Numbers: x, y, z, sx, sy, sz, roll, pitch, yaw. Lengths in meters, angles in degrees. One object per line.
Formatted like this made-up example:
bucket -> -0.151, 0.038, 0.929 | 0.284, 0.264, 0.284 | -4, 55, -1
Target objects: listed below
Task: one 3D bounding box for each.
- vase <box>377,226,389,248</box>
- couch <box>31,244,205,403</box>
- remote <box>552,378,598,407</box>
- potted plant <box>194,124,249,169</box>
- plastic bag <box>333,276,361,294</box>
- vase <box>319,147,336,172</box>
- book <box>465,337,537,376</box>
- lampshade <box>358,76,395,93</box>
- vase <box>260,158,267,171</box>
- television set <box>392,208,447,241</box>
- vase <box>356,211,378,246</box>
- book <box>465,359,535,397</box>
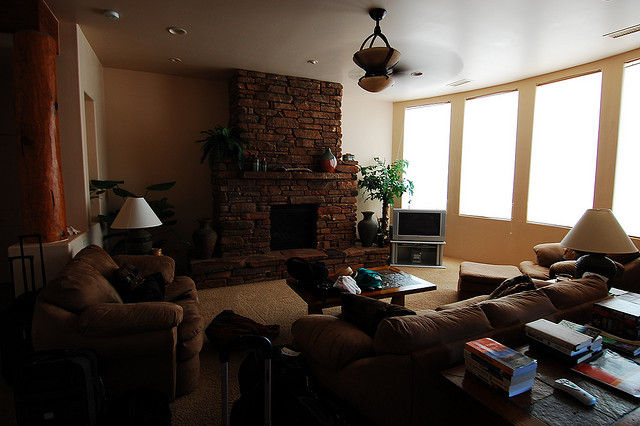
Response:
vase -> 1.078, 0.390, 6.988 | 0.188, 0.331, 0.319 | 2, 7, 7
couch -> -1.820, 1.009, 3.937 | 1.352, 1.205, 1.183 | -1, 7, -19
remote -> 1.765, 1.230, 2.876 | 0.135, 0.048, 0.213 | -5, 16, -32
potted plant -> -1.338, -0.993, 5.999 | 0.755, 0.492, 0.717 | -5, 8, 0
plastic bag -> 0.303, 0.774, 4.509 | 0.230, 0.101, 0.172 | 6, -2, -44
vase -> 0.136, -0.856, 6.683 | 0.269, 0.369, 0.214 | 0, 7, -14
book -> 1.305, 0.972, 2.941 | 0.233, 0.058, 0.317 | -1, 7, -30
lampshade -> 0.608, -1.400, 4.480 | 0.275, 0.093, 0.278 | -2, 7, -31
vase -> -0.851, -0.730, 6.233 | 0.084, 0.188, 0.079 | 0, 7, -9
television set -> 1.624, 0.195, 6.843 | 0.827, 0.518, 0.189 | 1, 7, 0
vase -> 0.800, 0.253, 6.939 | 0.329, 0.574, 0.302 | 1, 7, 0
book -> 1.293, 1.148, 2.936 | 0.265, 0.056, 0.254 | 0, 9, -33
